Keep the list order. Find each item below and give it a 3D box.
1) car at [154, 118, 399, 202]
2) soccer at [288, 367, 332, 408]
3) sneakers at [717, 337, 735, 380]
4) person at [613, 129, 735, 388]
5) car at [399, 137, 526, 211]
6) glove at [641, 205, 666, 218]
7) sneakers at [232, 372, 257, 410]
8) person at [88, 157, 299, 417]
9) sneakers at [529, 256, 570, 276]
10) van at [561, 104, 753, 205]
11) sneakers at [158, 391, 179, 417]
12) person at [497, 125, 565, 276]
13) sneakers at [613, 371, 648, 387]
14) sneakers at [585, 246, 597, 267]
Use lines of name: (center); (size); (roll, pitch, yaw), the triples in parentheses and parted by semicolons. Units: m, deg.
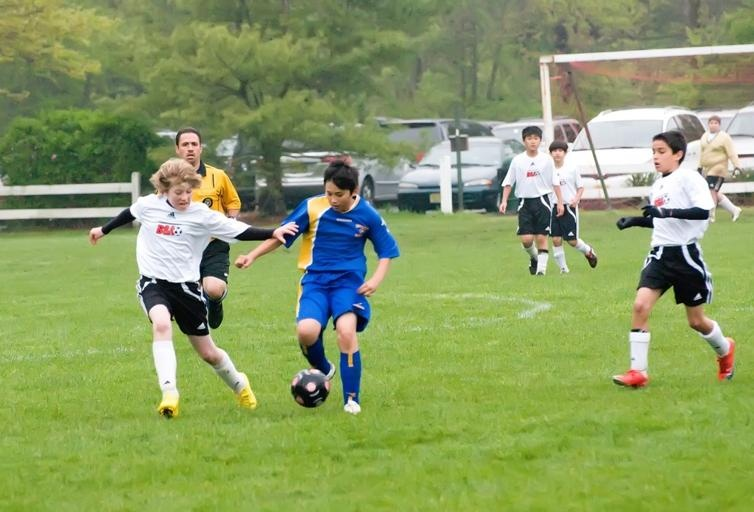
car: (-2.092, -2.028, 20.435); (4.925, 1.874, 2.275); (4, 5, 2)
soccer: (-0.562, 1.077, 7.024); (0.336, 0.292, 0.306); (6, 18, -8)
sneakers: (3.070, 0.895, 7.502); (0.176, 0.371, 0.134); (7, -3, -42)
person: (2.604, 0.018, 7.439); (1.038, 2.104, 0.771); (-2, 15, 1)
car: (1.953, -1.933, 19.883); (1.585, 1.182, 2.769); (0, 1, 25)
glove: (2.350, -0.372, 7.326); (0.100, 0.059, 0.132); (18, 3, -31)
sneakers: (-1.111, 1.161, 7.276); (0.126, 0.336, 0.138); (-16, 16, 27)
person: (-1.521, 0.266, 7.094); (0.876, 2.079, 0.739); (-6, 15, -15)
sneakers: (2.375, 0.168, 12.183); (0.222, 0.254, 0.630); (-1, -5, 2)
van: (5.407, -2.322, 18.362); (4.246, 1.746, 2.286); (-2, 0, -45)
sneakers: (-1.702, 1.211, 6.969); (0.166, 0.246, 0.158); (-6, 15, -16)
person: (2.210, -0.779, 12.374); (0.928, 2.155, 0.842); (8, 18, 34)
sneakers: (2.188, 1.061, 7.418); (0.266, 0.119, 0.132); (6, 0, 0)
sneakers: (3.124, 0.033, 12.543); (0.103, 0.282, 0.131); (-27, -10, 40)
